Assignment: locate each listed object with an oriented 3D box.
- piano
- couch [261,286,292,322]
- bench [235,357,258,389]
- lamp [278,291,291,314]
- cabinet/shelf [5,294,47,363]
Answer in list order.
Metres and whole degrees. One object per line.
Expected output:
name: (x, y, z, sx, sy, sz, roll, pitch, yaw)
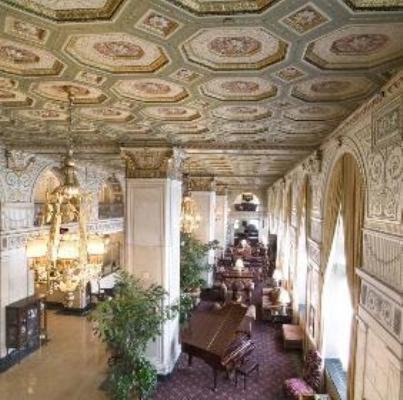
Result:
piano: (0.301, 3.549, 7.192, 1.724, 1.578, 1.374, 2, 8, 25)
couch: (2.804, 3.878, 11.229, 1.064, 0.935, 2.603, -7, -8, 13)
bench: (1.050, 3.967, 6.658, 0.274, 0.393, 0.577, 1, 1, 41)
lamp: (2.730, 3.411, 9.755, 0.464, 0.710, 0.459, 10, -14, -28)
cabinet/shelf: (-5.120, 3.730, 8.374, 0.550, 1.637, 1.835, -1, -3, 0)
